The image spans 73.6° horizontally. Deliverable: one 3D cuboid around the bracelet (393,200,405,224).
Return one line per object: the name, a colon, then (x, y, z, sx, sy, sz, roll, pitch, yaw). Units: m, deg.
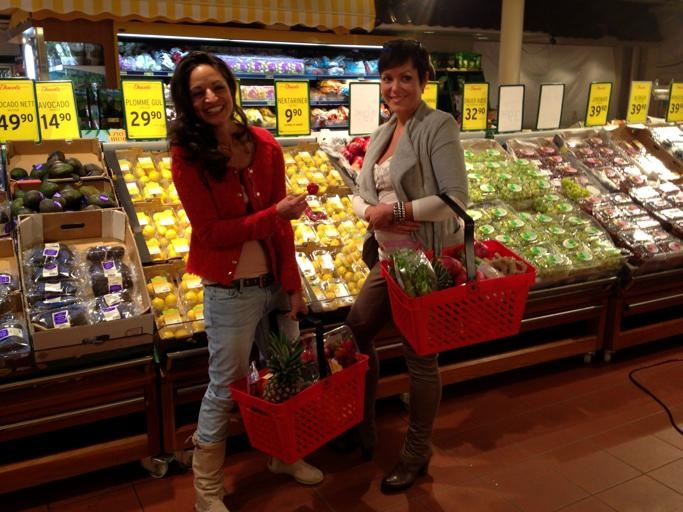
bracelet: (0.265, -0.203, 2.080, 0.059, 0.077, 0.079, -2, 34, 4)

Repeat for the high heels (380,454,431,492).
high heels: (0.343, 1.120, 2.393, 0.326, 0.132, 0.118, -10, 11, -40)

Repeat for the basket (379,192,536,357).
basket: (0.506, 0.057, 1.960, 0.637, 0.616, 0.293, -6, 14, -14)

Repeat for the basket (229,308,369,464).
basket: (-0.194, 0.547, 2.107, 0.589, 0.653, 0.586, -7, 23, -26)

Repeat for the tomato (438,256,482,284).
tomato: (0.510, 0.055, 1.958, 0.159, 0.067, 0.096, 14, 5, 12)
